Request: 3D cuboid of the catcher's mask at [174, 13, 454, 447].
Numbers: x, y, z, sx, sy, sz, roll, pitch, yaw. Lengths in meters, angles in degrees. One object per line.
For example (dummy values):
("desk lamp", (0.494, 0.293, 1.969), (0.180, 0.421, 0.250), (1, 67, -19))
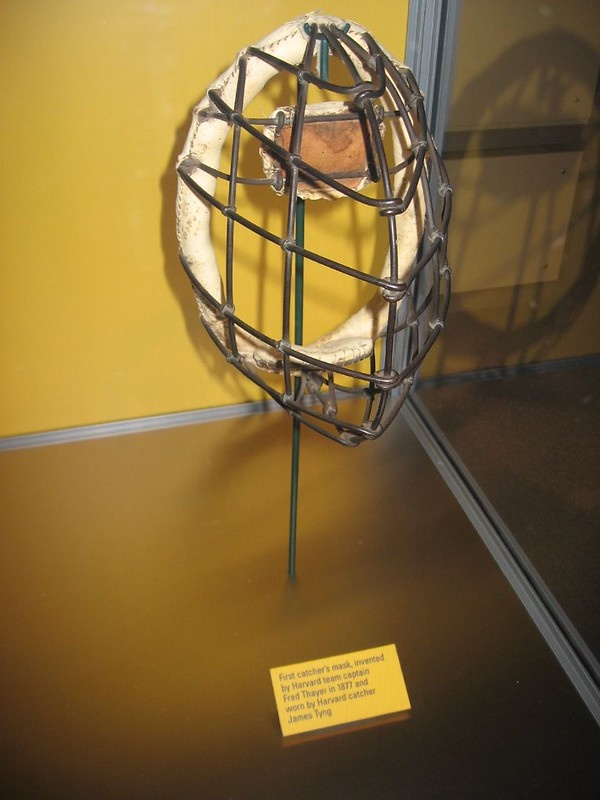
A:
("catcher's mask", (0.019, -0.233, 0.958), (0.358, 0.351, 0.547), (-13, -38, -7))
